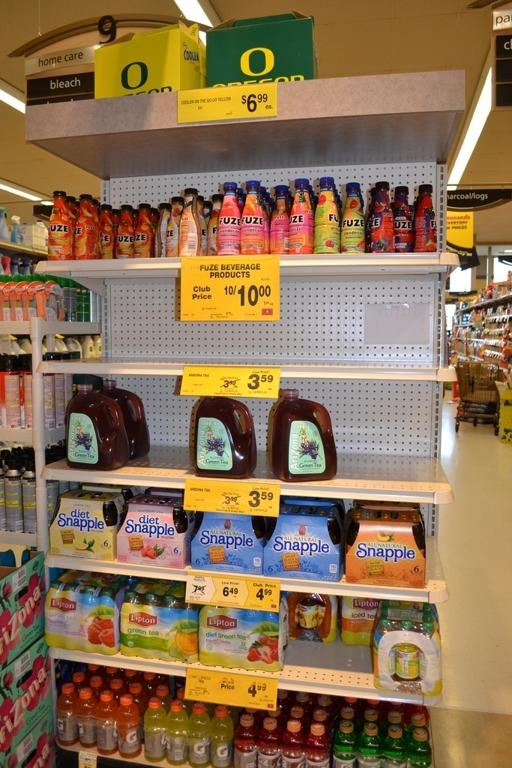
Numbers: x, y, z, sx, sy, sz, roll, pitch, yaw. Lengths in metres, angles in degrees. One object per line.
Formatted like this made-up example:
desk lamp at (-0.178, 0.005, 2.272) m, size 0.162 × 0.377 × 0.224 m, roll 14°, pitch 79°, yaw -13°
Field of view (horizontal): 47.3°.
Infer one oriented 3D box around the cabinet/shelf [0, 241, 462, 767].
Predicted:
cabinet/shelf at (-0.096, 0.432, 1.958) m, size 1.685 × 1.749 × 0.580 m, roll 0°, pitch 2°, yaw 17°

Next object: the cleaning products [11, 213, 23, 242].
cleaning products at (-1.901, -1.219, 4.641) m, size 0.090 × 0.245 × 0.667 m, roll 4°, pitch 8°, yaw -23°
